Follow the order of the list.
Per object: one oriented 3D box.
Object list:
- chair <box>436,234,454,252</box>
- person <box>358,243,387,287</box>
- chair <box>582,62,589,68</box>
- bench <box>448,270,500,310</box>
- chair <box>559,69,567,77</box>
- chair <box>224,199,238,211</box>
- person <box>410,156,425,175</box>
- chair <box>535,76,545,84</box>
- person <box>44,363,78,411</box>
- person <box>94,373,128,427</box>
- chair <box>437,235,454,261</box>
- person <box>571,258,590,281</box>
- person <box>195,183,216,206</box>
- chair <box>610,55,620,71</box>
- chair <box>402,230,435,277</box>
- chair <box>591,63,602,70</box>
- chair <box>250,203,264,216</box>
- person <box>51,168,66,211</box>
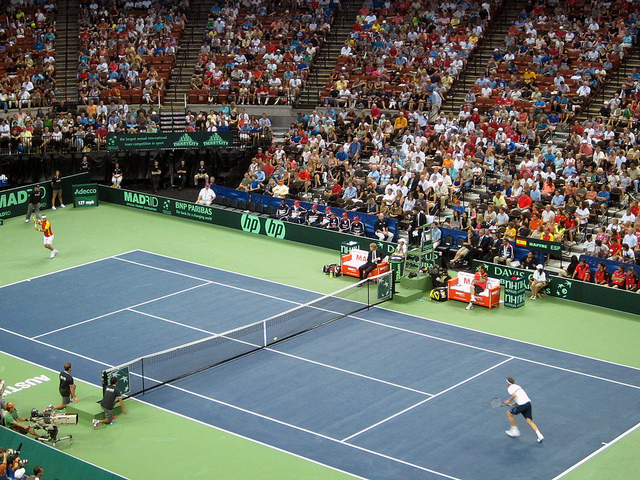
[{"bbox_3d":[5.799,0.134,32.892,0.506,0.850,0.803,9,11,42],"label":"chair"},{"bbox_3d":[2.247,1.119,31.143,1.383,1.981,0.906,-11,26,-28],"label":"person"},{"bbox_3d":[15.065,-9.906,40.941,0.249,0.356,0.273,0,0,11],"label":"chair"},{"bbox_3d":[6.291,2.022,29.609,1.938,1.186,0.888,10,12,33],"label":"bench"},{"bbox_3d":[13.850,-9.501,41.064,0.417,0.426,0.529,10,16,7],"label":"chair"},{"bbox_3d":[-4.867,-1.942,39.269,0.527,0.626,0.599,21,-8,-43],"label":"chair"},{"bbox_3d":[5.116,-3.864,37.073,0.901,0.717,1.025,23,21,40],"label":"person"},{"bbox_3d":[12.491,-9.064,40.965,0.392,0.537,0.467,4,18,8],"label":"chair"},{"bbox_3d":[-7.905,4.559,22.409,0.707,1.401,0.393,3,16,-15],"label":"person"},{"bbox_3d":[-6.458,4.878,22.106,0.660,1.479,1.002,11,12,3],"label":"person"},{"bbox_3d":[5.720,0.221,32.880,0.644,0.910,0.562,14,17,20],"label":"chair"},{"bbox_3d":[10.655,1.201,29.326,0.722,1.056,0.634,-4,9,-32],"label":"person"},{"bbox_3d":[-6.263,-2.554,39.429,0.934,1.144,1.202,20,20,36],"label":"person"},{"bbox_3d":[16.711,-9.967,40.759,0.665,0.829,0.778,7,20,20],"label":"chair"},{"bbox_3d":[4.379,0.533,31.504,1.194,2.246,1.126,-10,0,-22],"label":"chair"},{"bbox_3d":[15.559,-9.751,40.514,0.590,0.349,0.416,6,-13,17],"label":"chair"},{"bbox_3d":[-3.373,-1.651,38.453,0.431,0.491,0.663,6,7,32],"label":"chair"},{"bbox_3d":[-14.801,-2.830,40.764,0.608,2.325,1.086,12,16,14],"label":"person"}]
